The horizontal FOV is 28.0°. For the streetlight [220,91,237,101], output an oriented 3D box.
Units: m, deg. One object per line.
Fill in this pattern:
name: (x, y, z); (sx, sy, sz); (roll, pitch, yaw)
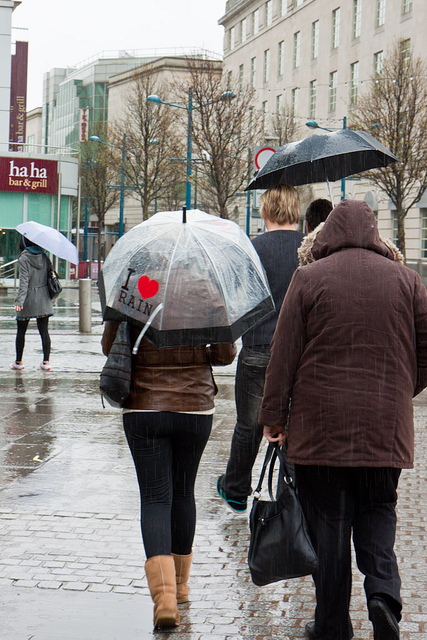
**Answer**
streetlight: (0.452, -7.315, 28.007); (0.279, 0.440, 0.980); (-1, 1, -13)

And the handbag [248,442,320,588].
handbag: (0.222, 0.668, 3.067); (0.277, 0.543, 0.113); (-23, -39, 29)

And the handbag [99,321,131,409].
handbag: (-0.359, 0.164, 3.144); (0.102, 0.319, 0.096); (1, 4, -15)

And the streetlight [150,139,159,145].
streetlight: (-2.917, -8.703, 41.973); (0.357, 0.185, 0.357); (-1, 2, -9)

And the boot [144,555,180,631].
boot: (-0.186, 0.991, 3.154); (0.105, 0.248, 0.141); (1, 4, -18)

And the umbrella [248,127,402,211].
umbrella: (0.741, -1.069, 5.713); (0.782, 0.539, 0.832); (-21, 5, 3)

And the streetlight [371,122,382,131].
streetlight: (5.312, -6.330, 27.797); (0.283, 0.229, 0.656); (2, 3, 3)

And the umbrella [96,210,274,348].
umbrella: (-0.120, -0.229, 3.355); (0.724, 0.351, 0.742); (8, 33, 10)
